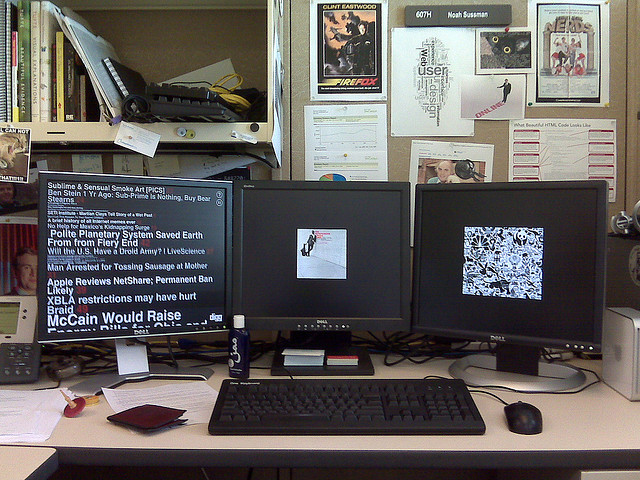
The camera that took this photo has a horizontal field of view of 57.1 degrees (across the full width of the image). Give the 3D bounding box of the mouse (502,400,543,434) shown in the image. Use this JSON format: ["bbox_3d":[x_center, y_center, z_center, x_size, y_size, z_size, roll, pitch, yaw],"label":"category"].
[{"bbox_3d":[0.496,0.429,1.458,0.108,0.042,0.137,4,12,18],"label":"mouse"}]

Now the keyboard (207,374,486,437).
[{"bbox_3d":[0.061,0.418,1.487,0.654,0.104,0.195,-3,6,1],"label":"keyboard"}]

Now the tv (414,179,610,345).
[{"bbox_3d":[0.549,0.068,1.648,0.508,0.398,0.050,3,-1,12],"label":"tv"}]

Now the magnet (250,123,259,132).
[{"bbox_3d":[-0.189,-0.323,1.687,0.025,0.023,0.005,-4,7,-8],"label":"magnet"}]

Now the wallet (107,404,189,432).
[{"bbox_3d":[-0.422,0.439,1.435,0.169,0.033,0.145,1,3,26],"label":"wallet"}]

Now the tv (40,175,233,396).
[{"bbox_3d":[-0.517,0.111,1.647,0.647,0.682,0.237,1,-4,-18],"label":"tv"}]

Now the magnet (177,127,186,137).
[{"bbox_3d":[-0.396,-0.307,1.678,0.029,0.026,0.006,3,-1,-3],"label":"magnet"}]

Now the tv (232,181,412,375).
[{"bbox_3d":[0.000,0.092,1.735,0.615,0.579,0.215,0,-2,-2],"label":"tv"}]
